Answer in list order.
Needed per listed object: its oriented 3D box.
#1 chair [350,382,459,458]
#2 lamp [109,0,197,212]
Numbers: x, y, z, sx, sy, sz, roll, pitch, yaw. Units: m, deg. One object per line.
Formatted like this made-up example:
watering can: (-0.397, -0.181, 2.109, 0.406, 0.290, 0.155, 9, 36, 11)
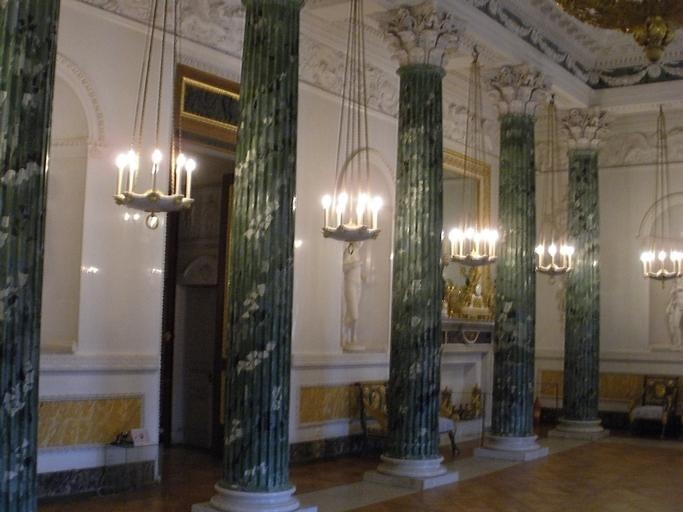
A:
chair: (1.122, 2.803, 10.465, 1.310, 1.809, 1.240, -13, -19, 34)
lamp: (-2.266, -1.886, 7.718, 0.936, 3.253, 2.149, 4, -7, -19)
